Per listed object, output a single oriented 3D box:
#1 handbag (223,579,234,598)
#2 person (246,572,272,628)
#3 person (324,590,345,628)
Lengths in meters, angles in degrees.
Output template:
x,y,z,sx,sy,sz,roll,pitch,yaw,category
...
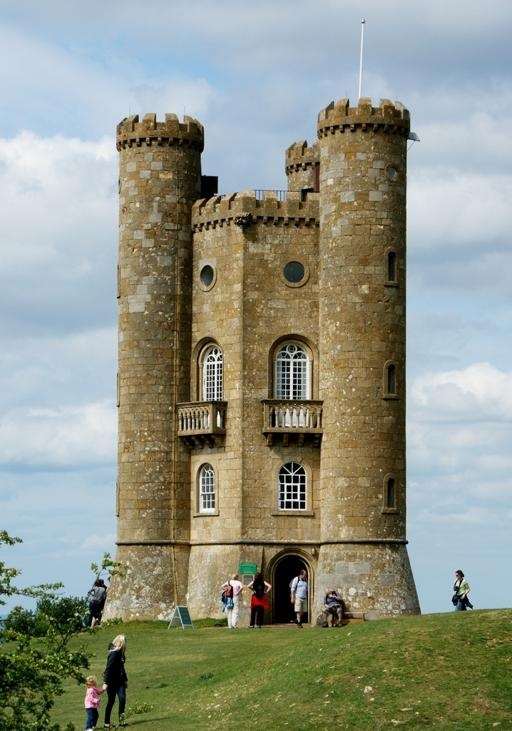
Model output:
x,y,z,sx,sy,sz,roll,pitch,yaw,category
-0.868,7.122,46.990,0.237,0.435,0.395,-7,-3,-12,handbag
0.085,7.583,47.731,0.799,1.500,2.467,-8,-3,-1,person
2.440,7.617,46.237,0.605,0.996,1.919,-8,-3,1,person
